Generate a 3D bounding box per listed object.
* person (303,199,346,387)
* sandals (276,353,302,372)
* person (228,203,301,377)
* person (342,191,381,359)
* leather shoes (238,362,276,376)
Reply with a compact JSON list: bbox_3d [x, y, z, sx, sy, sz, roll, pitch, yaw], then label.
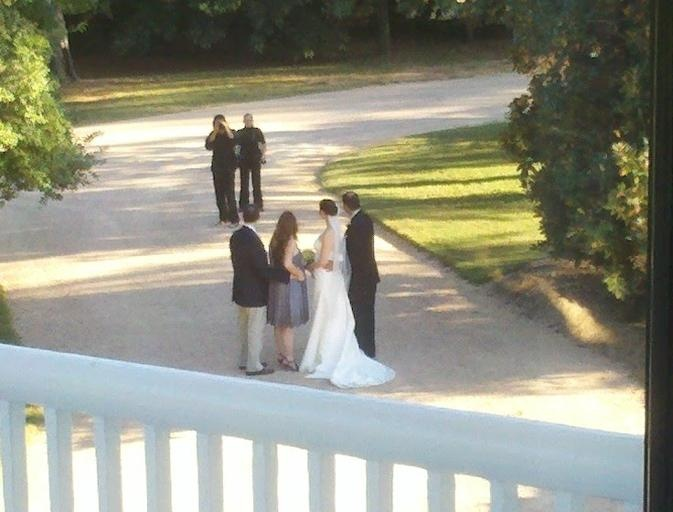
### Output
[{"bbox_3d":[-0.139,0.480,22.407,0.590,2.736,0.503,6,11,0],"label":"person"},{"bbox_3d":[-0.757,1.659,22.630,0.423,0.185,0.160,7,6,25],"label":"sandals"},{"bbox_3d":[-1.264,0.521,22.159,0.870,2.597,0.435,6,11,-2],"label":"person"},{"bbox_3d":[0.380,0.256,22.615,0.785,2.557,0.405,5,11,-3],"label":"person"},{"bbox_3d":[-1.227,1.744,22.399,0.588,0.282,0.213,-5,16,-9],"label":"leather shoes"}]
